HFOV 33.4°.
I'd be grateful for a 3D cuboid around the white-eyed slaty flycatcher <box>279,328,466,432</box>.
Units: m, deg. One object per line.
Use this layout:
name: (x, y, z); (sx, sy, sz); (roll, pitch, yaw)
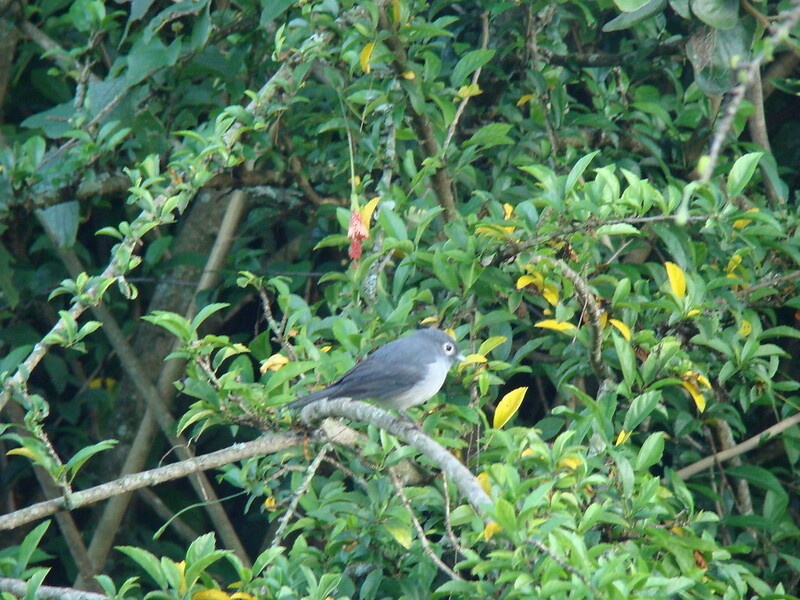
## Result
white-eyed slaty flycatcher: (-0.099, 0.385, 6.982); (0.956, 0.527, 0.342); (2, 8, -19)
